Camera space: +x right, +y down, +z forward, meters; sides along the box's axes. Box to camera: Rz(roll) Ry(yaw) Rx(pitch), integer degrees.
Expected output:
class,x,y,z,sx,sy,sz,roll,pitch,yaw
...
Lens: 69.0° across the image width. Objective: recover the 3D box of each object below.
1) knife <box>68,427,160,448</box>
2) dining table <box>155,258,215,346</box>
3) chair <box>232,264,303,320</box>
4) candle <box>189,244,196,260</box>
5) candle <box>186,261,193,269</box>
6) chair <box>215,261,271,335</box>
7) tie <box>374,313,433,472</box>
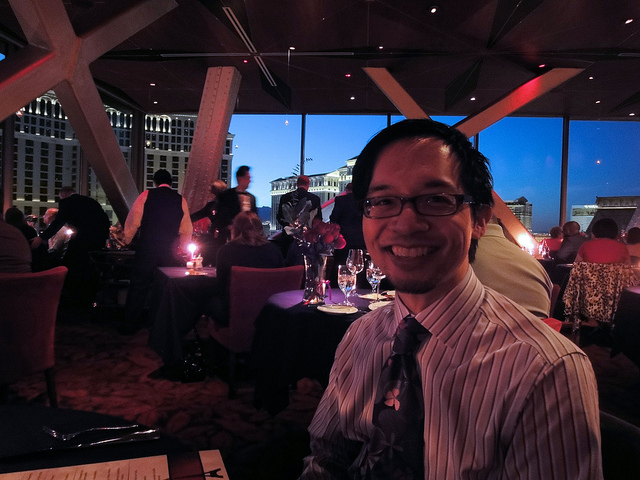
class,x,y,z,sx,sy,sz,roll,pitch,yaw
knife,-0.607,0.580,1.359,0.223,0.024,0.027,2,34,-22
dining table,-1.055,0.446,3.706,0.458,0.559,0.679,-1,7,-20
chair,-0.380,0.333,3.323,0.329,0.481,0.397,0,9,-11
candle,-1.050,0.098,3.854,0.044,0.129,0.080,1,6,-1
candle,-1.071,0.201,3.807,0.065,0.062,0.052,3,8,11
chair,-0.528,0.434,3.074,0.220,0.492,0.875,-1,7,-21
tie,0.242,0.445,1.363,0.155,0.442,0.114,3,7,15
